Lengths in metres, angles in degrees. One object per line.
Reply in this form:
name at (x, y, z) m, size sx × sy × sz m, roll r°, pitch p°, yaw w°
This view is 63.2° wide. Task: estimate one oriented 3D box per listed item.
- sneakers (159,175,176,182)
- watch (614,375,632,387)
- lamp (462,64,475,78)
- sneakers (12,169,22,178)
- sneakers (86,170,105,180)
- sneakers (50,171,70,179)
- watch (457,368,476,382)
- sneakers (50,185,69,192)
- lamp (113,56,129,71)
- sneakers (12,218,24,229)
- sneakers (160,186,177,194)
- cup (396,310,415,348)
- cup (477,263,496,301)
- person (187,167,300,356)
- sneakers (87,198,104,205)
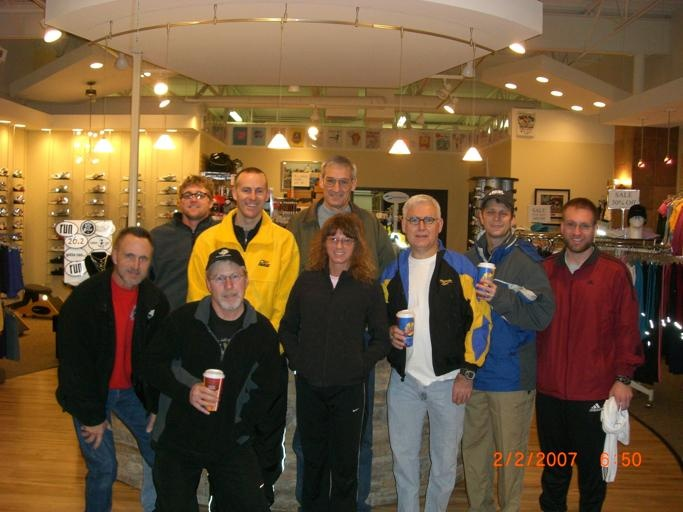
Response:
sneakers at (-4.165, -1.892, 13.357) m, size 0.422 × 0.164 × 0.154 m, roll 4°, pitch 8°, yaw 18°
watch at (2.139, 0.940, 4.187) m, size 0.086 × 0.044 × 0.075 m, roll 19°, pitch -16°, yaw -35°
lamp at (1.837, -2.701, 7.941) m, size 0.199 × 0.184 × 0.297 m, roll 3°, pitch 8°, yaw 14°
sneakers at (-7.763, -2.012, 13.294) m, size 0.188 × 0.144 × 0.169 m, roll -27°, pitch -19°, yaw 23°
sneakers at (-6.060, -2.001, 13.745) m, size 0.446 × 0.188 × 0.195 m, roll -6°, pitch 25°, yaw 7°
sneakers at (-6.981, -2.021, 13.810) m, size 0.313 × 0.109 × 0.189 m, roll 6°, pitch -5°, yaw -21°
watch at (0.943, 0.866, 4.121) m, size 0.108 × 0.074 × 0.116 m, roll 15°, pitch 2°, yaw -41°
sneakers at (-7.006, -1.683, 13.796) m, size 0.299 × 0.192 × 0.095 m, roll -5°, pitch 10°, yaw -6°
lamp at (-3.218, -2.875, 8.095) m, size 0.137 × 0.229 × 0.346 m, roll 1°, pitch 6°, yaw -26°
sneakers at (-7.811, -0.800, 13.361) m, size 0.195 × 0.254 × 0.083 m, roll 4°, pitch -3°, yaw -29°
sneakers at (-4.168, -1.611, 13.393) m, size 0.187 × 0.145 × 0.333 m, roll -5°, pitch 14°, yaw -40°
cup at (0.477, 0.526, 4.101) m, size 0.125 × 0.274 × 0.196 m, roll 4°, pitch 5°, yaw 8°
cup at (1.079, 0.186, 4.111) m, size 0.134 × 0.285 × 0.126 m, roll 3°, pitch 5°, yaw 0°
person at (-0.772, 0.192, 4.494) m, size 0.962 × 1.697 × 0.927 m, roll 0°, pitch 6°, yaw -32°
sneakers at (-6.079, -1.360, 13.739) m, size 0.135 × 0.181 × 0.436 m, roll 2°, pitch 13°, yaw 7°
